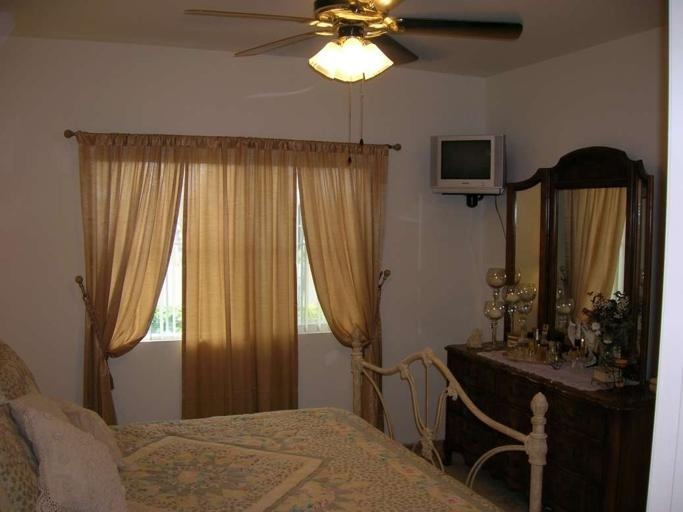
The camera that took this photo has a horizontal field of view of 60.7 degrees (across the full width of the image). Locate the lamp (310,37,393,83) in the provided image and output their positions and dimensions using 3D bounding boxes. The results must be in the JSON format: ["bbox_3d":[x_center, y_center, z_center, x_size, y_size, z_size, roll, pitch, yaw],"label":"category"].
[{"bbox_3d":[0.043,-0.985,2.953,0.348,0.192,0.268,6,16,31],"label":"lamp"}]

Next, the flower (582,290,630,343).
[{"bbox_3d":[1.743,0.364,3.863,0.229,0.266,0.426,-4,14,-9],"label":"flower"}]

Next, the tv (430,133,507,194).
[{"bbox_3d":[1.042,-0.751,4.794,0.710,0.583,0.412,1,0,14],"label":"tv"}]
